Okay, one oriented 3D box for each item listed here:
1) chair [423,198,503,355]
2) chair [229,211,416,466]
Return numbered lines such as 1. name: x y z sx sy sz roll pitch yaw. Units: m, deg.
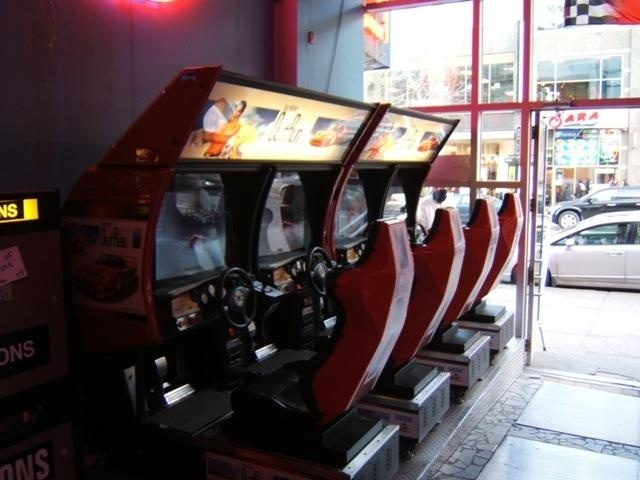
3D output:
1. chair: 0.943 0.172 4.123 1.007 1.168 0.693 4 4 20
2. chair: 0.000 0.529 2.757 0.952 1.221 0.687 0 -1 16
